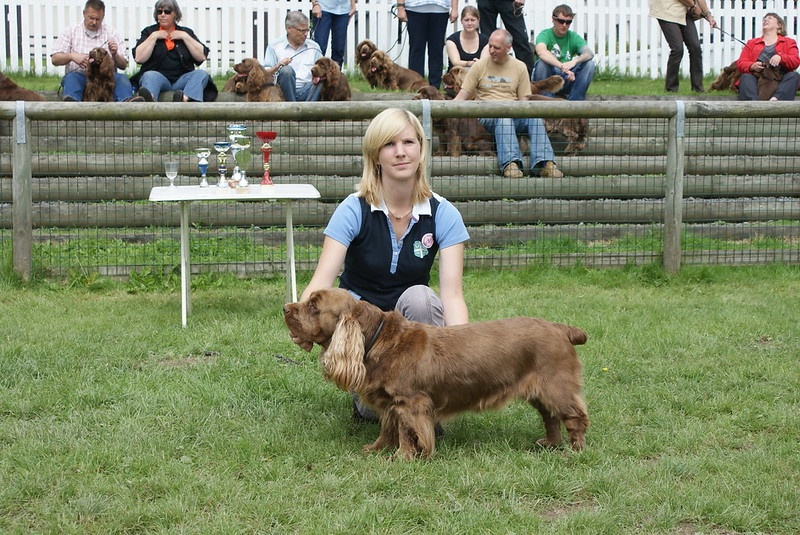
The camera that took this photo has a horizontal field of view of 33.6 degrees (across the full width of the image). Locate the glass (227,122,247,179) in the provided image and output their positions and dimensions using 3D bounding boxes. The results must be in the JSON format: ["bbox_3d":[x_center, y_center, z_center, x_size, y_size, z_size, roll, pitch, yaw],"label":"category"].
[{"bbox_3d":[-1.908,-1.303,15.291,0.236,0.662,0.253,-6,-6,-22],"label":"glass"}]

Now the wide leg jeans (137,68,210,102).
[{"bbox_3d":[-3.125,-2.506,18.390,0.967,0.428,0.753,-3,10,-12],"label":"wide leg jeans"}]

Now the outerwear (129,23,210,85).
[{"bbox_3d":[-3.274,-2.992,18.997,1.057,1.128,0.737,-1,-16,-10],"label":"outerwear"}]

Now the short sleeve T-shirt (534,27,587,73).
[{"bbox_3d":[2.377,-3.176,19.803,0.720,0.739,0.478,1,-6,-5],"label":"short sleeve T-shirt"}]

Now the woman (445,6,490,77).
[{"bbox_3d":[1.007,-3.462,19.815,0.660,1.185,0.958,1,20,-2],"label":"woman"}]

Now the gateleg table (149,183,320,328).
[{"bbox_3d":[-1.888,-0.168,14.888,1.687,1.552,1.497,-2,1,-5],"label":"gateleg table"}]

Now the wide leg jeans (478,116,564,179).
[{"bbox_3d":[1.594,-1.506,16.752,0.813,0.731,0.321,0,9,8],"label":"wide leg jeans"}]

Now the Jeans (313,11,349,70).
[{"bbox_3d":[-1.079,-3.542,20.833,0.520,0.500,1.682,10,-29,3],"label":"Jeans"}]

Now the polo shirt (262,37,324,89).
[{"bbox_3d":[-1.548,-2.982,19.496,1.017,0.949,0.629,-3,3,-20],"label":"polo shirt"}]

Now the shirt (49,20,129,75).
[{"bbox_3d":[-4.428,-2.828,18.753,1.130,1.138,0.638,1,-1,-13],"label":"shirt"}]

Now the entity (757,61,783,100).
[{"bbox_3d":[5.556,-2.787,20.032,0.343,0.567,0.211,2,-7,23],"label":"entity"}]

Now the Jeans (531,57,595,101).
[{"bbox_3d":[2.459,-2.961,19.476,0.598,0.710,0.872,15,11,9],"label":"Jeans"}]

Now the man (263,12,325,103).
[{"bbox_3d":[-1.482,-2.874,19.337,0.820,1.747,0.909,-3,10,-40],"label":"man"}]

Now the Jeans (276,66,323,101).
[{"bbox_3d":[-1.429,-2.707,19.150,0.447,0.429,0.620,17,-22,7],"label":"Jeans"}]
